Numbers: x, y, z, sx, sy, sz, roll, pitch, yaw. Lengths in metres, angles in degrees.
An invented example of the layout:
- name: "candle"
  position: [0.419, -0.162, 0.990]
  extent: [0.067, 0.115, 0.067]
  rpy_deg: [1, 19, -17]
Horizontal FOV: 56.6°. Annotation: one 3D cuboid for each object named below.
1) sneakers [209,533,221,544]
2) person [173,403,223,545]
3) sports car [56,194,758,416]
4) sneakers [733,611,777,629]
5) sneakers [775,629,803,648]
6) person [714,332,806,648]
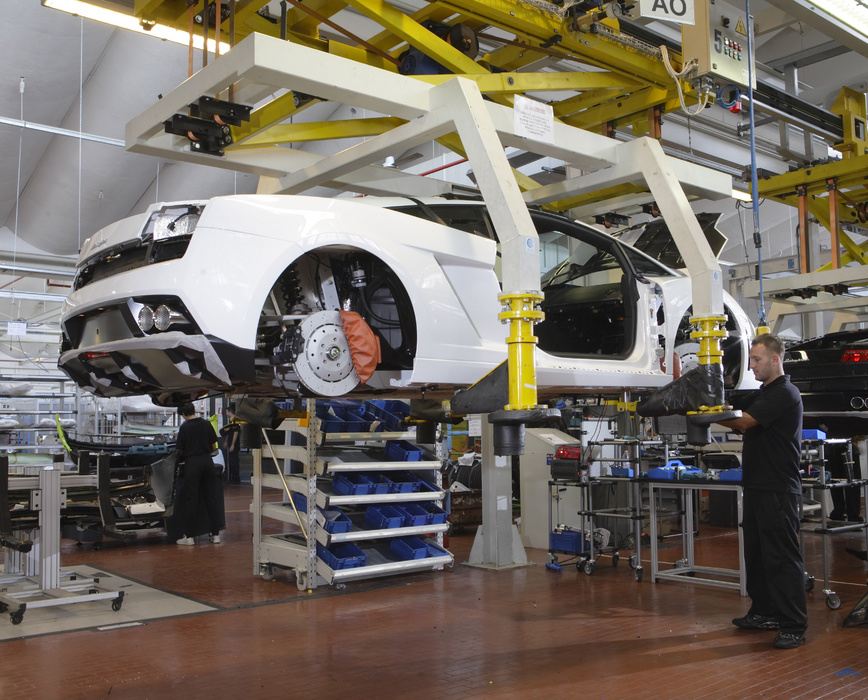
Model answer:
- name: "sneakers"
  position: [-2.540, 2.194, 9.422]
  extent: [0.103, 0.056, 0.137]
  rpy_deg: [0, -4, -13]
- name: "person"
  position: [-2.576, 1.402, 8.875]
  extent: [0.546, 1.541, 1.325]
  rpy_deg: [1, -8, -16]
- name: "sports car"
  position: [0.142, -0.321, 5.783]
  extent: [4.628, 0.861, 2.478]
  rpy_deg: [0, -2, -25]
- name: "sneakers"
  position: [2.248, 1.913, 5.754]
  extent: [0.327, 0.103, 0.101]
  rpy_deg: [2, -5, 14]
- name: "sneakers"
  position: [2.317, 1.886, 5.296]
  extent: [0.256, 0.103, 0.089]
  rpy_deg: [1, -8, -16]
- name: "person"
  position: [2.302, 0.917, 5.565]
  extent: [0.472, 2.070, 0.563]
  rpy_deg: [-5, -9, 20]
